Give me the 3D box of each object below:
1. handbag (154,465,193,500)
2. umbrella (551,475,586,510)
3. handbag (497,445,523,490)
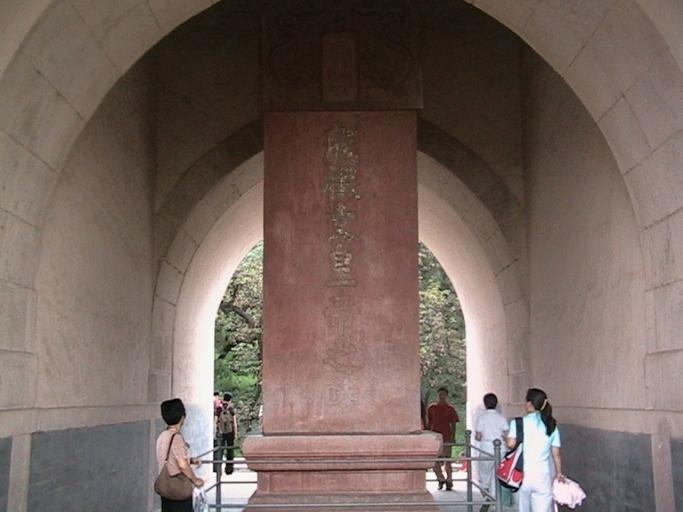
[{"bbox_3d":[-1.224,1.660,4.482,0.270,0.237,0.165,4,-18,-16],"label":"handbag"},{"bbox_3d":[1.816,1.889,4.908,0.229,0.214,0.141,-9,-19,22],"label":"umbrella"},{"bbox_3d":[1.384,1.714,4.981,0.242,0.345,0.134,-11,-19,30],"label":"handbag"}]
